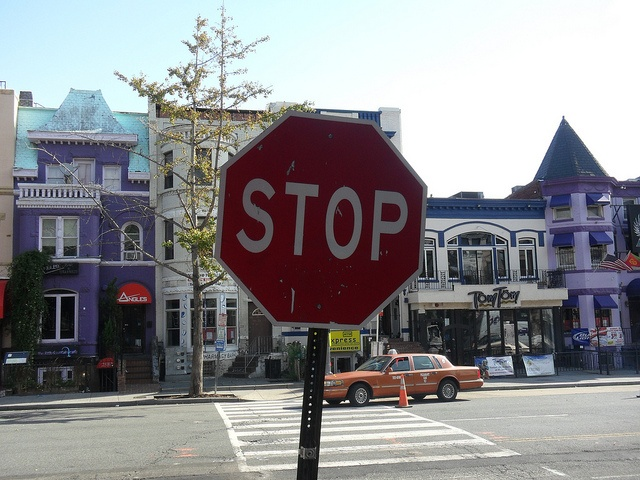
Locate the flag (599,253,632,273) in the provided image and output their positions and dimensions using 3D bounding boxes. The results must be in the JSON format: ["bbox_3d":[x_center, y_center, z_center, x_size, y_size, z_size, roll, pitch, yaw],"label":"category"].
[{"bbox_3d":[15.792,1.223,37.691,1.258,1.268,0.136,10,-48,9],"label":"flag"}]
